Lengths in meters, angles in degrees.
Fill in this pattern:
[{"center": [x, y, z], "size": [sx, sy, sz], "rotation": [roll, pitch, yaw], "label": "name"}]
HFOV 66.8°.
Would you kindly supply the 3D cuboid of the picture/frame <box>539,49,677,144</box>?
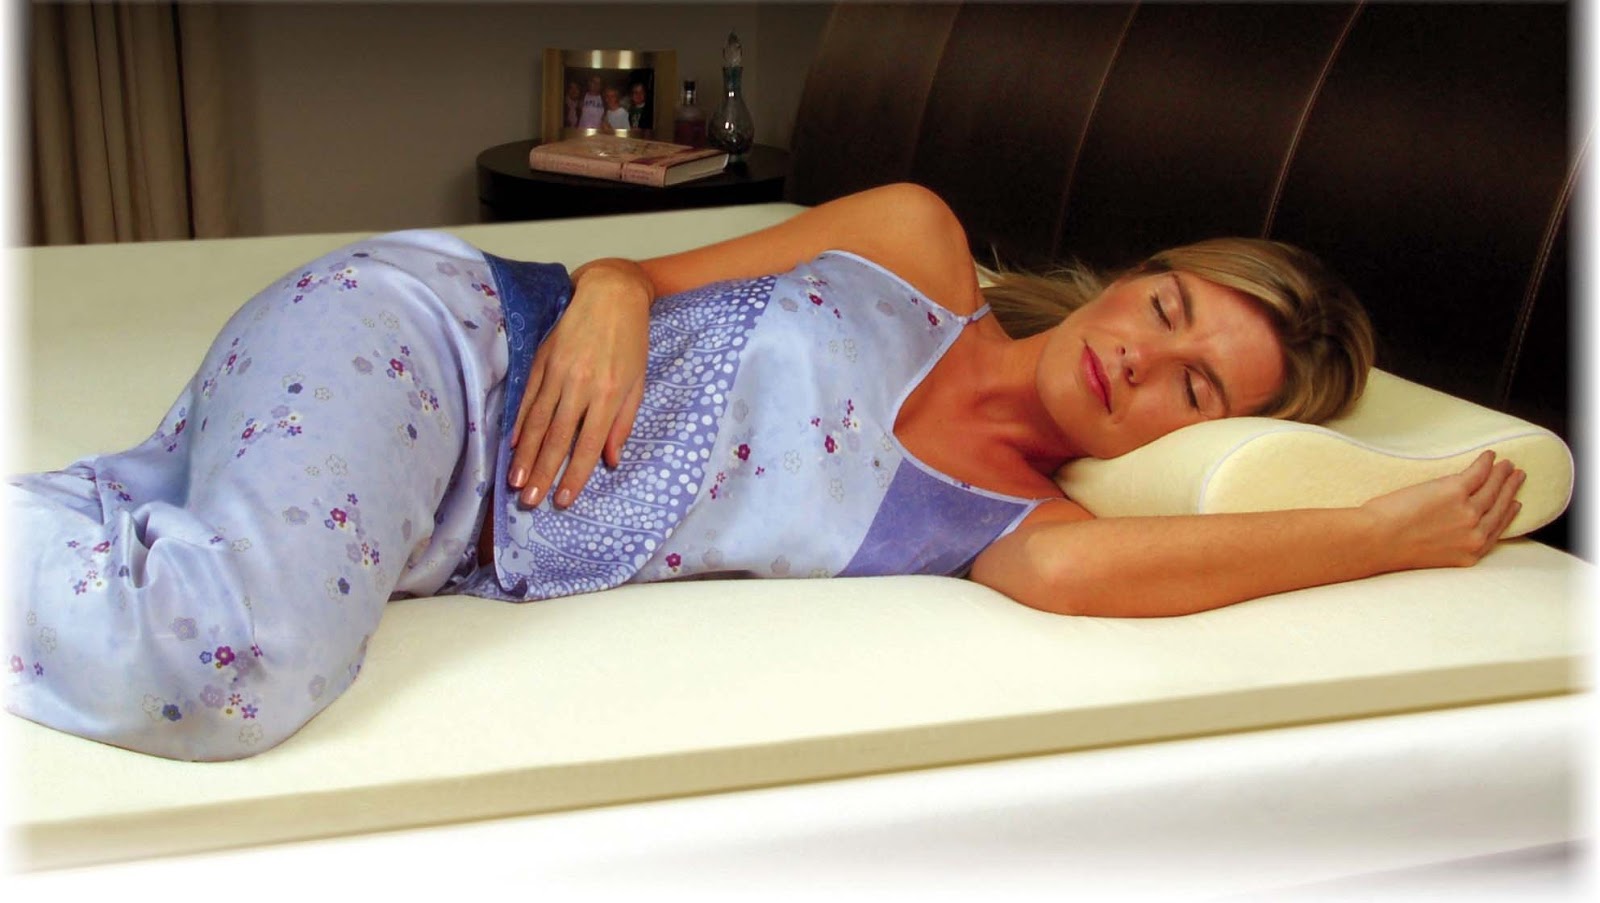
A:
[{"center": [-0.471, -0.869, 2.968], "size": [0.324, 0.209, 0.039], "rotation": [0, 13, -1], "label": "picture/frame"}]
